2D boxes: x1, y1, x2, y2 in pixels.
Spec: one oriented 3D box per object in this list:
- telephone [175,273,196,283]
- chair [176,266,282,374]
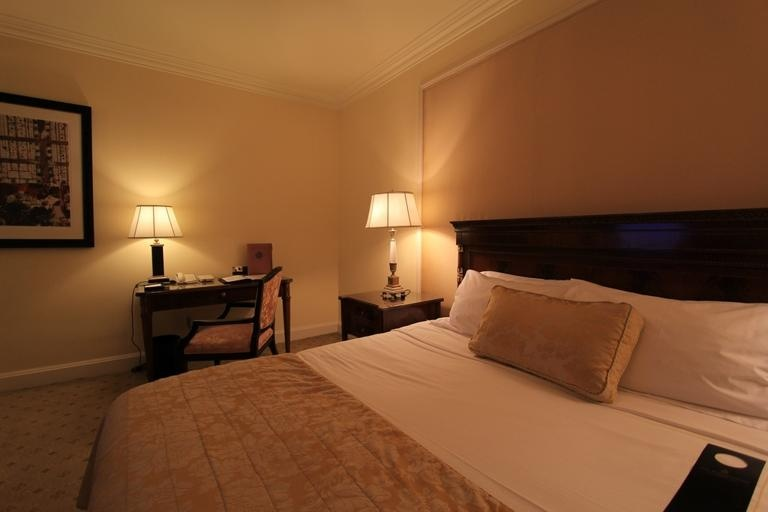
[{"bbox_3d":[-1.823,0.184,4.485,0.112,0.075,0.118,-1,0,38],"label":"telephone"},{"bbox_3d":[-1.243,0.451,4.163,0.837,1.175,0.791,2,0,0],"label":"chair"}]
